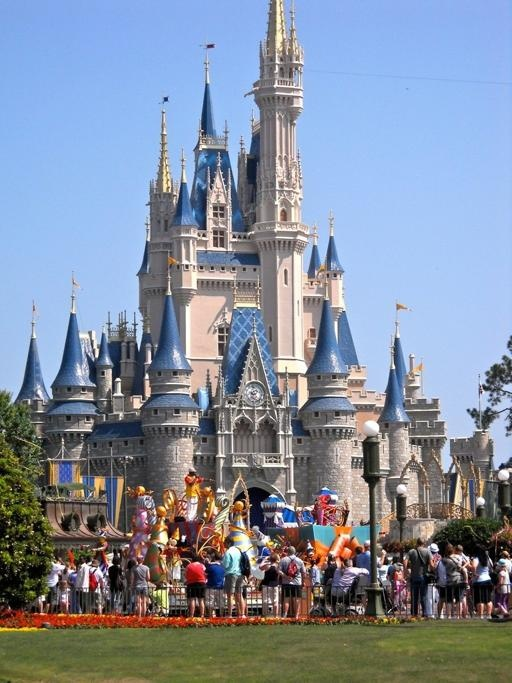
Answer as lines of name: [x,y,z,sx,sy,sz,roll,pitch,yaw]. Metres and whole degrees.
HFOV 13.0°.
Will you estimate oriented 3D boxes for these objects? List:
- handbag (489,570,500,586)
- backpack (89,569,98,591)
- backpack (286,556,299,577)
handbag: [3.611,3.566,33.982,0.130,0.273,0.154,-1,2,-10]
backpack: [-2.523,3.752,35.366,0.181,0.290,0.264,4,-18,-6]
backpack: [0.574,3.359,33.596,0.227,0.389,0.202,3,-13,-6]
